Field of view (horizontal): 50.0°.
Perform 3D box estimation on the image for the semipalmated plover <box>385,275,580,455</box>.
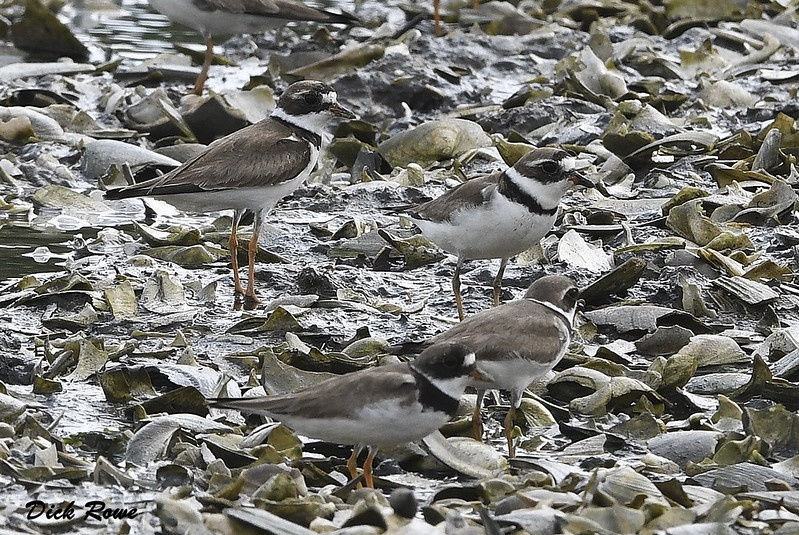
[{"bbox_3d":[0.526,0.588,5.550,1.455,0.692,1.012,2,83,-26],"label":"semipalmated plover"}]
